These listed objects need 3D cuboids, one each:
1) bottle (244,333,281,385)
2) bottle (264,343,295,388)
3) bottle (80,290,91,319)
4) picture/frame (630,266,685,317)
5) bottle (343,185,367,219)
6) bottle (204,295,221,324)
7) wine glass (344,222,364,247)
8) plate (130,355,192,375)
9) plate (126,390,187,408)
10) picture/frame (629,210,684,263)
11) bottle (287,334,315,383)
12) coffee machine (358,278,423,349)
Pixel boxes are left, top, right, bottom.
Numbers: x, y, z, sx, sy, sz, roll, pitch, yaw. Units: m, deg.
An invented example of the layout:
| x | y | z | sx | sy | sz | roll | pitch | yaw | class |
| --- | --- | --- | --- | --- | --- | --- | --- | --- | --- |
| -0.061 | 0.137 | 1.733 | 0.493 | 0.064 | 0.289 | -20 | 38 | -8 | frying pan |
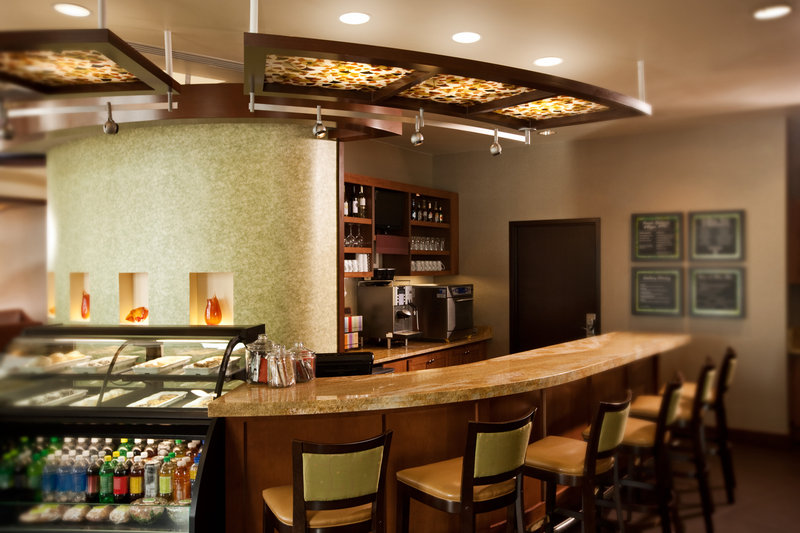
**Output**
| x | y | z | sx | sy | sz | roll | pitch | yaw | class |
| --- | --- | --- | --- | --- | --- | --- | --- | --- | --- |
| -0.740 | 0.495 | 3.355 | 0.206 | 0.223 | 0.207 | -3 | -5 | 45 | bottle |
| -0.605 | 0.526 | 3.271 | 0.192 | 0.251 | 0.168 | 0 | -7 | -8 | bottle |
| -2.230 | 0.278 | 4.564 | 0.121 | 0.198 | 0.047 | 1 | 3 | 35 | bottle |
| 0.808 | 0.085 | 2.003 | 0.163 | 0.161 | 0.023 | -2 | -12 | 40 | picture/frame |
| -0.415 | -0.581 | 5.635 | 0.124 | 0.287 | 0.324 | 0 | 3 | 29 | bottle |
| -1.304 | 0.305 | 4.497 | 0.112 | 0.195 | 0.150 | -2 | 3 | -12 | bottle |
| -0.404 | -0.275 | 5.644 | 0.114 | 0.202 | 0.302 | 0 | 3 | 31 | wine glass |
| -1.203 | 0.500 | 3.239 | 0.125 | 0.045 | 0.177 | 1 | 2 | 30 | plate |
| -1.189 | 0.666 | 3.175 | 0.100 | 0.020 | 0.148 | 6 | 7 | 35 | plate |
| 0.821 | -0.093 | 2.043 | 0.175 | 0.166 | 0.059 | 1 | 0 | 25 | picture/frame |
| -0.506 | 0.533 | 3.472 | 0.185 | 0.181 | 0.177 | -1 | -5 | -7 | bottle |
| 0.011 | 0.416 | 6.081 | 0.627 | 0.694 | 0.493 | -2 | -2 | 20 | coffee machine |
